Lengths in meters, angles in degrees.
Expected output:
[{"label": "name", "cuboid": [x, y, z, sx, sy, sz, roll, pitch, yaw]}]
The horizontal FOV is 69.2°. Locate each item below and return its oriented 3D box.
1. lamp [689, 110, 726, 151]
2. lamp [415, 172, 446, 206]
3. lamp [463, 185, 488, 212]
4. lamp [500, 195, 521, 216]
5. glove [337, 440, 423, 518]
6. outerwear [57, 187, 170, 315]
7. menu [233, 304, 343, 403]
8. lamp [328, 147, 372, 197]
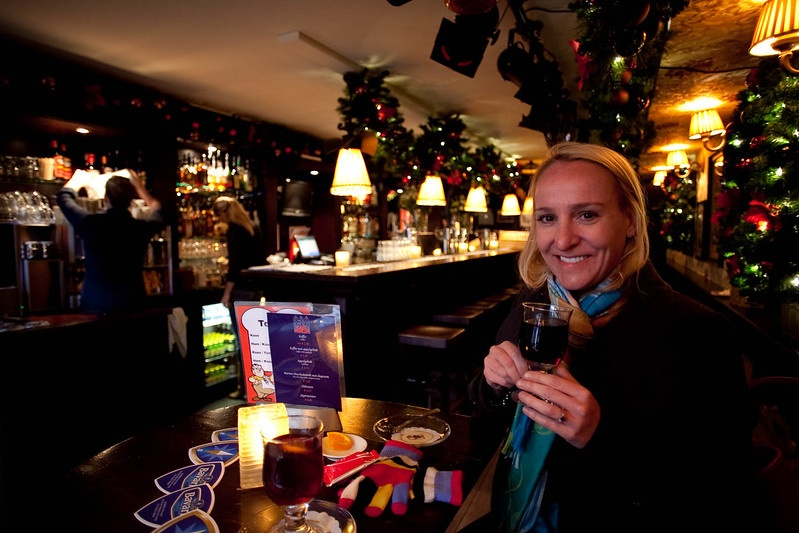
[{"label": "lamp", "cuboid": [3.510, -1.548, 6.563, 0.438, 0.446, 0.337, 0, 14, 9]}, {"label": "lamp", "cuboid": [0.396, -0.923, 7.183, 0.415, 0.357, 0.382, -2, 21, -10]}, {"label": "lamp", "cuboid": [1.049, -0.985, 8.308, 0.381, 0.373, 0.390, 9, 16, 43]}, {"label": "lamp", "cuboid": [1.895, -1.001, 9.749, 0.424, 0.283, 0.404, -4, 24, 0]}, {"label": "glove", "cuboid": [-0.072, 1.040, 2.841, 0.295, 0.247, 0.378, 1, 7, 28]}, {"label": "outerwear", "cuboid": [-2.711, -0.171, 5.477, 1.002, 1.147, 0.719, -1, 6, -42]}, {"label": "menu", "cuboid": [-0.561, 0.443, 3.019, 0.591, 0.531, 0.028, 2, 15, 10]}, {"label": "lamp", "cuboid": [-0.410, -0.922, 5.693, 0.449, 0.410, 0.454, 6, 9, 38]}]
